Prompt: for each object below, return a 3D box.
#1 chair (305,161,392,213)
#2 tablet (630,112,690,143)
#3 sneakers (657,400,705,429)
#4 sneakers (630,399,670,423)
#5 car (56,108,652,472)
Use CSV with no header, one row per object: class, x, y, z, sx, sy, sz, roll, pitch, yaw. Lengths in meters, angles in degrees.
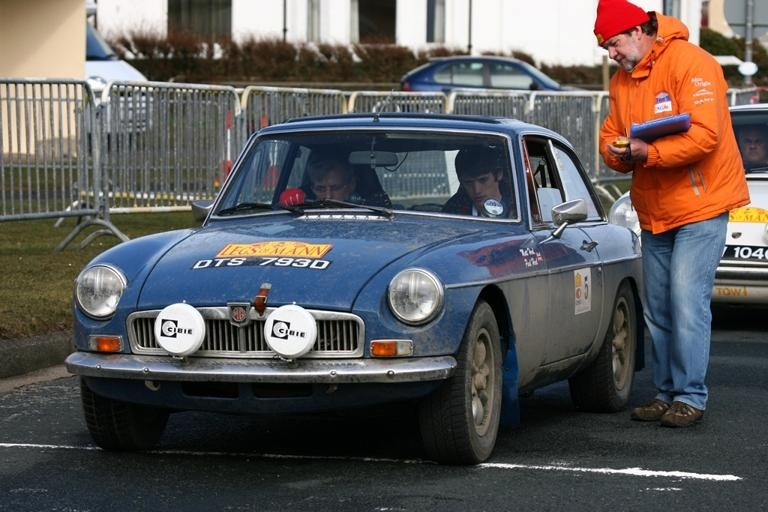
chair,-0.240,-0.548,7.827,0.535,0.283,0.666,0,-4,14
tablet,1.879,-0.866,7.406,0.225,0.237,0.229,-10,-9,6
sneakers,2.086,1.130,7.670,0.135,0.144,0.355,-3,-8,33
sneakers,1.912,1.125,7.885,0.322,0.142,0.121,3,0,-15
car,0.015,0.180,7.228,3.964,2.171,2.011,-5,11,-34
